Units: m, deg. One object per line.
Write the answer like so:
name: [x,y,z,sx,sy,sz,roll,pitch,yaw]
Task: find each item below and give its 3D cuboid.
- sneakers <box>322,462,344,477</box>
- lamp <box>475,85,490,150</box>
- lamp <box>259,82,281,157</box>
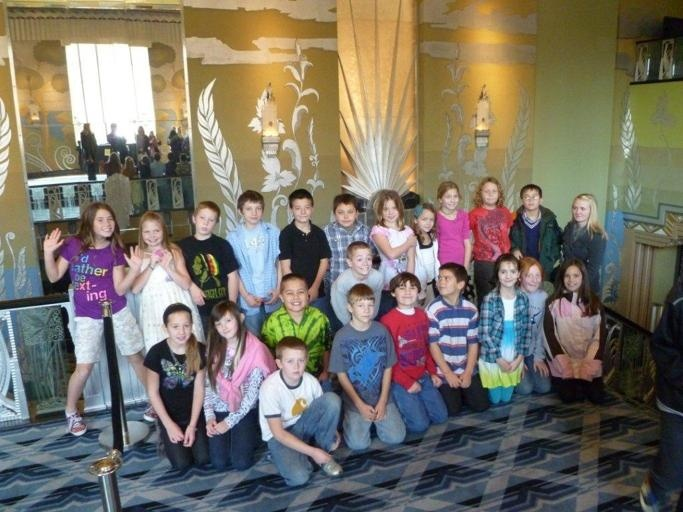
sneakers: [-0.067,1.498,3.653,0.073,0.054,0.130,-4,-3,-42]
lamp: [2.098,-2.088,7.736,0.280,0.898,0.084,-8,11,-21]
lamp: [-1.006,-1.791,6.900,0.338,0.875,0.353,15,19,41]
